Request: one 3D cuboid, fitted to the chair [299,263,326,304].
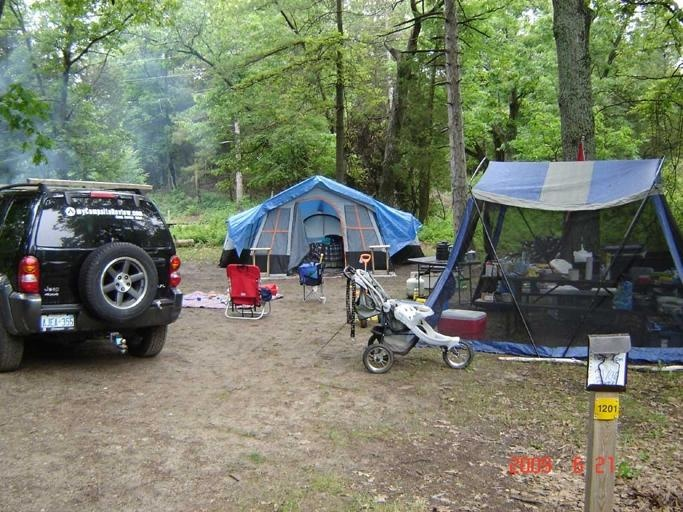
[{"bbox_3d":[-0.630,0.558,12.468,0.500,0.848,0.601,0,9,13],"label":"chair"}]

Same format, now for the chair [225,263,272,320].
[{"bbox_3d":[-1.778,0.652,10.842,0.753,0.979,1.063,1,0,1],"label":"chair"}]

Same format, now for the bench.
[{"bbox_3d":[3.153,0.817,8.898,1.984,0.972,1.833,3,9,17],"label":"bench"}]

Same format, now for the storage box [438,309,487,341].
[{"bbox_3d":[1.920,0.973,8.984,0.462,0.400,0.629,1,0,-44],"label":"storage box"}]
